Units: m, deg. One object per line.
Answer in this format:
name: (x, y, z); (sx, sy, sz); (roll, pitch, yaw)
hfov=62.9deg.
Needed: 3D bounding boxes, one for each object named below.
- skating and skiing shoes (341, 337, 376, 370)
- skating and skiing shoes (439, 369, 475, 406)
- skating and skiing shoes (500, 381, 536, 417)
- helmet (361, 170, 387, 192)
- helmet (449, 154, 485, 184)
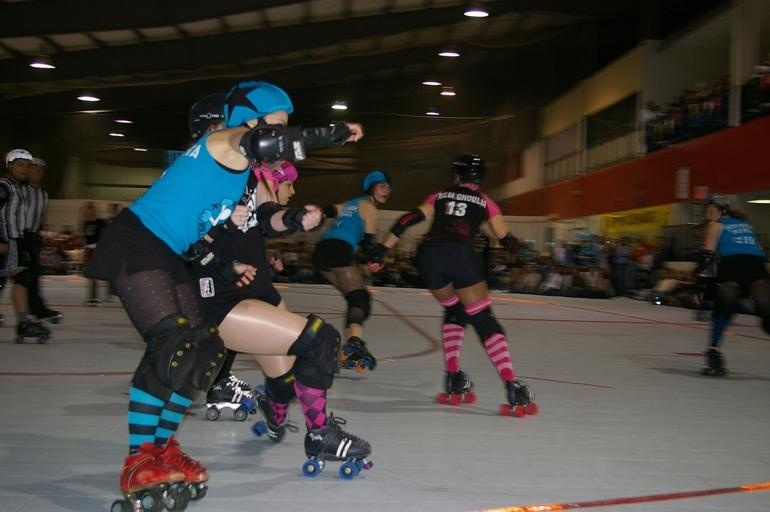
skating and skiing shoes: (-0.215, 0.796, 5.307); (0.174, 0.381, 0.140); (-36, 41, -6)
skating and skiing shoes: (0.592, 1.039, 4.902); (0.197, 0.177, 0.342); (1, 2, 28)
skating and skiing shoes: (0.974, 1.054, 4.667); (0.233, 0.236, 0.298); (-12, -4, 31)
helmet: (-0.126, -0.699, 5.912); (0.242, 0.119, 0.186); (-8, -1, 28)
helmet: (0.663, -0.723, 5.187); (0.240, 0.235, 0.276); (2, 12, -10)
